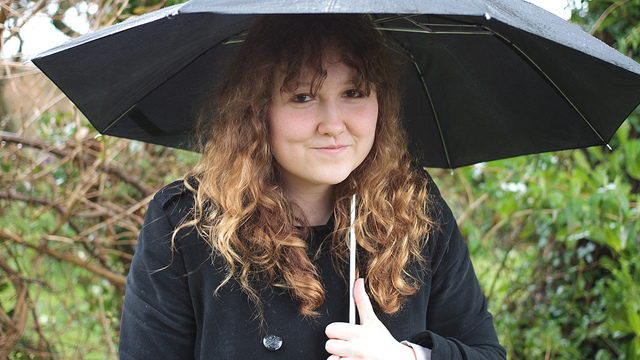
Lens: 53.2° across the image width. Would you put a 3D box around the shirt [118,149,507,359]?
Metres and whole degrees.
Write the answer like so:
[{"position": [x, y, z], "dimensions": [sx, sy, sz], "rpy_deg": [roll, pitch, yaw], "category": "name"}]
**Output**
[{"position": [-0.101, 0.603, 4.136], "dimensions": [2.241, 0.979, 0.916], "rpy_deg": [4, -55, -2], "category": "shirt"}]
